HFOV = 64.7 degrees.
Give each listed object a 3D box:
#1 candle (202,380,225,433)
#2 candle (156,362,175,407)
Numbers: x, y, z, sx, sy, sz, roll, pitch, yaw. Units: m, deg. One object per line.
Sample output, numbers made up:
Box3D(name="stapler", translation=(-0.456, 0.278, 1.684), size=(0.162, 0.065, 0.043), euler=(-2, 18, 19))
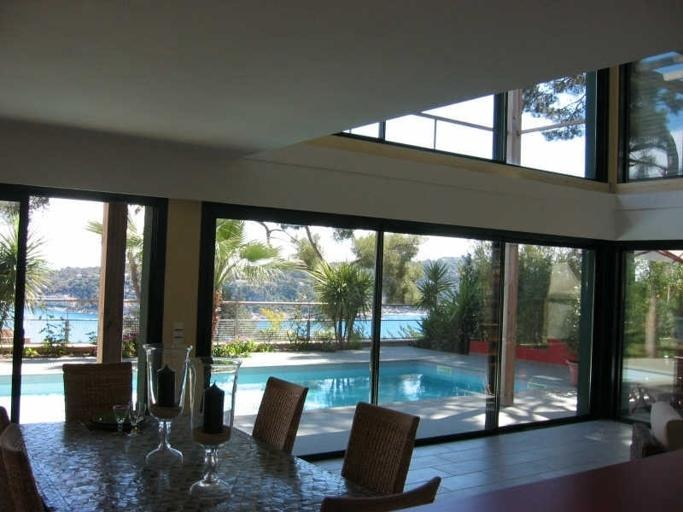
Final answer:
Box3D(name="candle", translation=(-0.560, 0.668, 2.368), size=(0.097, 0.220, 0.084), euler=(5, 0, -11))
Box3D(name="candle", translation=(-0.903, 0.667, 2.779), size=(0.097, 0.212, 0.042), euler=(5, 0, -11))
